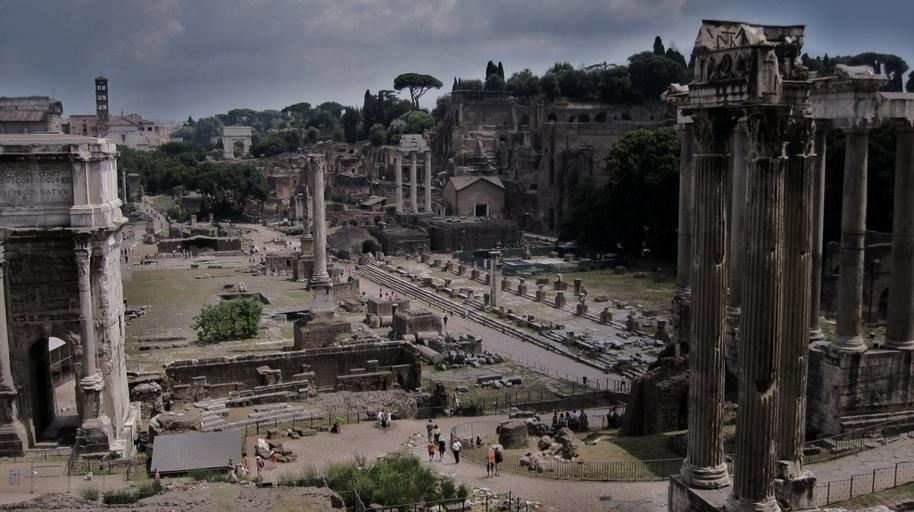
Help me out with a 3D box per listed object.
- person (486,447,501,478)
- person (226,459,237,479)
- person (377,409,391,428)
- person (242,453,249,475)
[{"bbox_3d":[1.602,8.741,40.203,0.609,1.031,1.144,0,11,3],"label":"person"},{"bbox_3d":[-9.766,9.188,40.228,0.406,0.430,1.275,4,5,-20],"label":"person"},{"bbox_3d":[-3.690,8.161,46.793,0.688,0.970,0.506,3,6,34],"label":"person"},{"bbox_3d":[-9.401,9.256,41.635,0.314,1.020,0.427,-1,-12,-16],"label":"person"}]
